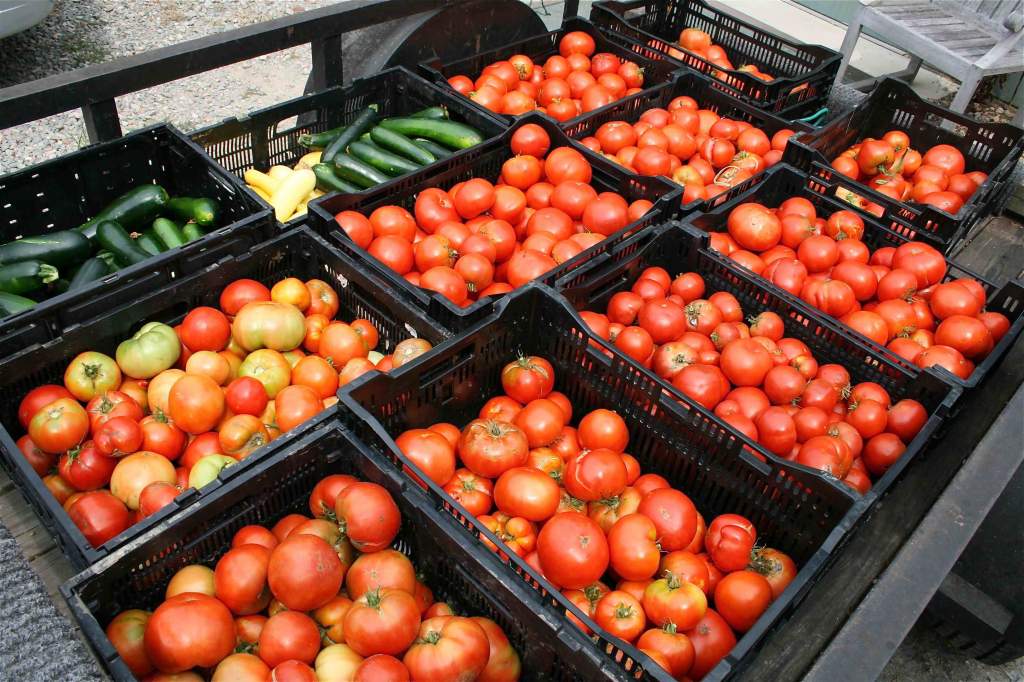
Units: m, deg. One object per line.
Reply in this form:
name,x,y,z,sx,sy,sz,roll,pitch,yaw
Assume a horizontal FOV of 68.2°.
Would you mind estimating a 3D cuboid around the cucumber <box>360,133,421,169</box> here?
cucumber,-0.744,-1.139,4.594,0.344,0.091,0.084,33,41,-3

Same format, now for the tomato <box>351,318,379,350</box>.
tomato,-0.759,-0.027,3.965,0.146,0.145,0.152,0,77,-38

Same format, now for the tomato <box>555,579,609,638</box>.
tomato,0.277,1.043,3.051,0.164,0.176,0.166,6,16,19

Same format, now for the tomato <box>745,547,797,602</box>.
tomato,1.113,0.976,3.300,0.191,0.205,0.201,-6,21,5

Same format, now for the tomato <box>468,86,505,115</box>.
tomato,-0.181,-1.583,5.080,0.252,0.218,0.224,-5,15,-16

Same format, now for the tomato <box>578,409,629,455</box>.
tomato,0.423,0.416,3.606,0.198,0.193,0.204,5,68,-20

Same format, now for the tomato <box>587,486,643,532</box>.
tomato,0.453,0.737,3.437,0.170,0.171,0.174,-14,73,-44

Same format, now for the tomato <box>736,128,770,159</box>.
tomato,1.606,-1.325,5.108,0.179,0.201,0.201,23,59,24

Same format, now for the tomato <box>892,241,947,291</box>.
tomato,2.377,-0.445,4.408,0.222,0.229,0.255,13,70,-37

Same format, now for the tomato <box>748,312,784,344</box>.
tomato,1.350,-0.082,4.106,0.172,0.153,0.150,8,23,-20

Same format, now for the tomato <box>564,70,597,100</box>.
tomato,0.467,-1.814,5.375,0.177,0.182,0.182,-18,52,-18

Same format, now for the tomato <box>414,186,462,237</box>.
tomato,-0.443,-0.740,4.405,0.242,0.236,0.250,3,82,-9

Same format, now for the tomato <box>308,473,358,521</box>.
tomato,-0.770,0.635,3.213,0.181,0.189,0.178,-22,38,-35

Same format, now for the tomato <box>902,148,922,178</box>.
tomato,2.727,-1.200,5.181,0.118,0.160,0.128,-37,55,11

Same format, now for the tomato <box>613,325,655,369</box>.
tomato,0.623,0.024,3.913,0.185,0.191,0.200,7,96,-5

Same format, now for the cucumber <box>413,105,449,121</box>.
cucumber,-0.529,-1.470,4.886,0.200,0.094,0.103,-4,19,-2

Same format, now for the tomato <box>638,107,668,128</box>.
tomato,0.972,-1.508,5.145,0.151,0.087,0.157,-8,33,-1

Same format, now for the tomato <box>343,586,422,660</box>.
tomato,-0.492,1.061,2.844,0.251,0.273,0.263,0,17,2

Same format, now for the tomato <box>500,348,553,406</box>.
tomato,0.067,0.185,3.671,0.223,0.236,0.224,0,30,-5

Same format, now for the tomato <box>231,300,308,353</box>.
tomato,-1.239,-0.066,3.872,0.359,0.300,0.379,-9,13,-42

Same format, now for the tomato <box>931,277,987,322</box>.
tomato,2.471,-0.191,4.195,0.229,0.135,0.248,16,53,37

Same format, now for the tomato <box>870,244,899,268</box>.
tomato,2.195,-0.493,4.493,0.121,0.126,0.133,-10,48,-16

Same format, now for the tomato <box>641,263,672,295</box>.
tomato,0.781,-0.348,4.189,0.143,0.182,0.154,-2,29,3

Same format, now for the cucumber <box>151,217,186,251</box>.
cucumber,-1.860,-0.565,4.074,0.098,0.087,0.225,-35,81,0

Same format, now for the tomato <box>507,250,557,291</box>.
tomato,0.084,-0.386,4.014,0.201,0.208,0.212,-4,48,1

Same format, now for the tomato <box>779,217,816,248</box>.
tomato,1.653,-0.655,4.459,0.171,0.186,0.209,14,37,36

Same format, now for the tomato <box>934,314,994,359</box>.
tomato,2.442,-0.037,4.104,0.226,0.223,0.241,25,26,29

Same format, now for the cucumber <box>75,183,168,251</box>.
cucumber,-2.099,-0.716,4.220,0.609,0.203,0.192,-31,46,-8

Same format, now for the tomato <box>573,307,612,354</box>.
tomato,0.400,-0.048,3.823,0.179,0.204,0.191,3,16,4

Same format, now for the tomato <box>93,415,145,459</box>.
tomato,-1.712,0.413,3.331,0.171,0.187,0.187,12,19,-11

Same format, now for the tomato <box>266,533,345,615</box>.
tomato,-0.778,0.889,2.990,0.281,0.284,0.285,13,62,1

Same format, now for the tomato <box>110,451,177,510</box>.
tomato,-1.598,0.576,3.305,0.245,0.260,0.257,-11,35,-17

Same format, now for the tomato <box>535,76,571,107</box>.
tomato,0.283,-1.715,5.234,0.215,0.217,0.228,-13,34,17

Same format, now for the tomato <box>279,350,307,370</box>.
tomato,-1.097,0.085,3.797,0.091,0.093,0.091,-17,33,-35

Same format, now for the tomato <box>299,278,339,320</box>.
tomato,-1.010,-0.219,3.994,0.177,0.188,0.182,6,11,-3

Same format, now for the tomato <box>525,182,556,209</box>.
tomato,0.161,-0.859,4.517,0.137,0.149,0.158,11,79,-1

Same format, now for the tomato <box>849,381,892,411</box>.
tomato,1.777,0.264,3.771,0.135,0.166,0.145,-9,54,-52

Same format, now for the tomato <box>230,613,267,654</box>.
tomato,-1.026,1.129,2.966,0.116,0.144,0.125,-3,89,-4

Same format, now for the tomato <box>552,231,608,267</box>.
tomato,0.371,-0.476,4.200,0.247,0.150,0.191,-29,38,2

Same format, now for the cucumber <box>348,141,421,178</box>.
cucumber,-0.769,-1.074,4.539,0.416,0.108,0.119,25,95,-4

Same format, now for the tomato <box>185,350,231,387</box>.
tomato,-1.441,0.119,3.631,0.170,0.166,0.176,-23,97,-46

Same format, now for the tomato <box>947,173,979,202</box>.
tomato,2.991,-1.020,5.010,0.186,0.201,0.198,-4,17,12

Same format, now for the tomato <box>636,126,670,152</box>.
tomato,0.926,-1.293,4.908,0.154,0.157,0.154,-1,89,-2

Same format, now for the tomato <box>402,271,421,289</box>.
tomato,-0.534,-0.327,4.057,0.087,0.088,0.094,-20,86,6

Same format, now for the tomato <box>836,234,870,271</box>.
tomato,1.993,-0.507,4.411,0.169,0.173,0.177,-1,11,-13

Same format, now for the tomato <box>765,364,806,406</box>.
tomato,1.360,0.220,3.878,0.187,0.184,0.186,6,75,-21

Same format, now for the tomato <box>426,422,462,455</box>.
tomato,-0.323,0.444,3.545,0.127,0.133,0.138,5,98,6

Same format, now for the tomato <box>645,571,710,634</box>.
tomato,0.656,1.055,3.072,0.229,0.237,0.248,-3,94,2

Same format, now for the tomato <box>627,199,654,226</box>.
tomato,0.738,-0.728,4.341,0.143,0.124,0.123,16,22,-37

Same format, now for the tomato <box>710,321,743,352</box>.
tomato,1.113,-0.015,3.999,0.172,0.142,0.159,3,83,-10

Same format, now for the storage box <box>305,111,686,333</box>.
storage box,-0.185,-0.698,4.459,1.740,0.523,1.285,-36,68,-24
